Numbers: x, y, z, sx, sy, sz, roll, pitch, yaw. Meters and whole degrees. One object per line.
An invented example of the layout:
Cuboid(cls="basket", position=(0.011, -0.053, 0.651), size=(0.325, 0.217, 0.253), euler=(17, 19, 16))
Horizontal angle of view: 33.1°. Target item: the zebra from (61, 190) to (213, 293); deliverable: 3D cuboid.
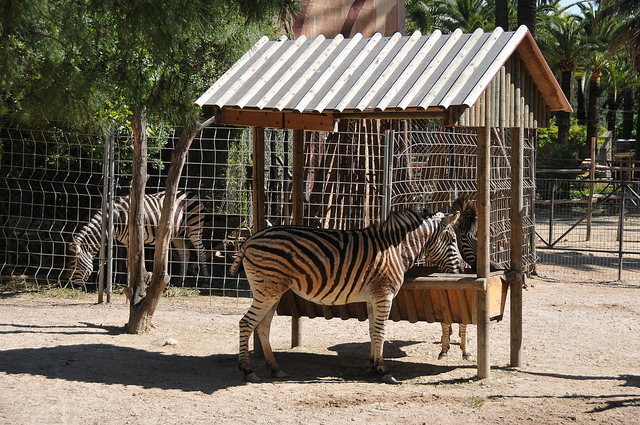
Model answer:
Cuboid(cls="zebra", position=(-4.005, 0.775, 23.769), size=(3.347, 2.495, 1.118), euler=(-13, 22, -25))
